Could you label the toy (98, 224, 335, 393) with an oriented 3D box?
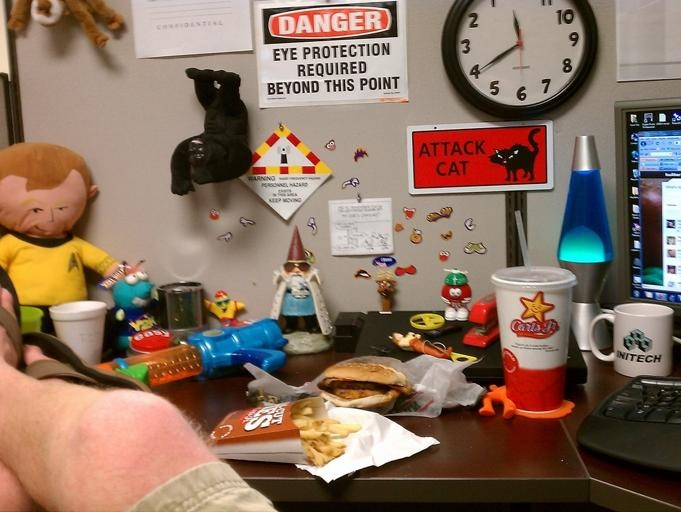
[{"bbox_3d":[-0.205,0.089,1.033,0.306,0.263,0.318,2,14,3],"label":"toy"}]
